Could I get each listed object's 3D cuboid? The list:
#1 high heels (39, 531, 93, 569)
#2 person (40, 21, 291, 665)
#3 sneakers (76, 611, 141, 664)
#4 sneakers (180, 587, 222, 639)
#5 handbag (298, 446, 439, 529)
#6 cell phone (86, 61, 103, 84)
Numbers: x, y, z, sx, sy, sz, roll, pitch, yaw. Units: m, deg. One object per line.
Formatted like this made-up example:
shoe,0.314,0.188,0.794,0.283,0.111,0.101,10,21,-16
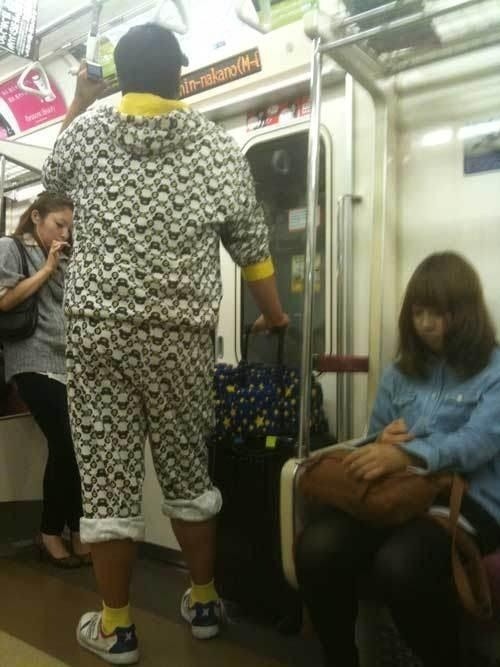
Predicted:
high heels,-0.837,0.960,2.531,0.105,0.139,0.308,15,-18,-42
person,-0.234,0.044,1.643,0.644,1.741,0.410,-1,-3,-22
sneakers,-0.410,0.864,1.655,0.092,0.093,0.193,17,-8,-39
sneakers,-0.149,0.862,1.767,0.073,0.082,0.174,1,0,-7
handbag,0.241,0.330,1.253,0.213,0.082,0.134,-5,9,40
cell phone,-0.545,-0.916,2.021,0.063,0.063,0.113,3,14,-14
